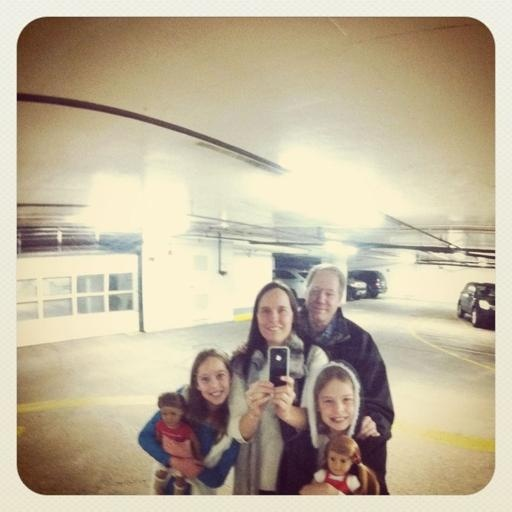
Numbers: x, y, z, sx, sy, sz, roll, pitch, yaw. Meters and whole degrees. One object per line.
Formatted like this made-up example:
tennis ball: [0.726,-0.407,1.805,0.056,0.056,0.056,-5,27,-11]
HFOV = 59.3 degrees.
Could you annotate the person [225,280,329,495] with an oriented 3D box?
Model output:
person: [0.103,0.802,2.049,0.384,1.197,0.446,2,0,-4]

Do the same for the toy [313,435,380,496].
toy: [0.419,0.945,2.021,0.239,0.326,0.152,-2,-7,23]
